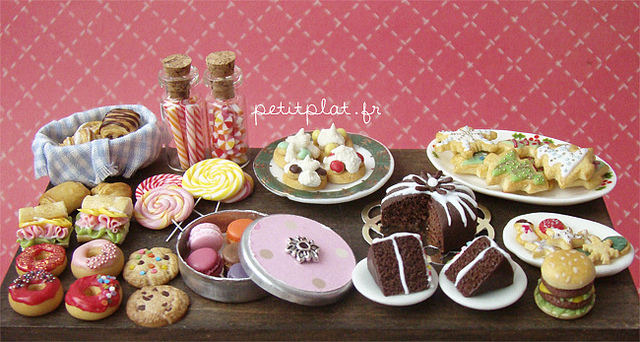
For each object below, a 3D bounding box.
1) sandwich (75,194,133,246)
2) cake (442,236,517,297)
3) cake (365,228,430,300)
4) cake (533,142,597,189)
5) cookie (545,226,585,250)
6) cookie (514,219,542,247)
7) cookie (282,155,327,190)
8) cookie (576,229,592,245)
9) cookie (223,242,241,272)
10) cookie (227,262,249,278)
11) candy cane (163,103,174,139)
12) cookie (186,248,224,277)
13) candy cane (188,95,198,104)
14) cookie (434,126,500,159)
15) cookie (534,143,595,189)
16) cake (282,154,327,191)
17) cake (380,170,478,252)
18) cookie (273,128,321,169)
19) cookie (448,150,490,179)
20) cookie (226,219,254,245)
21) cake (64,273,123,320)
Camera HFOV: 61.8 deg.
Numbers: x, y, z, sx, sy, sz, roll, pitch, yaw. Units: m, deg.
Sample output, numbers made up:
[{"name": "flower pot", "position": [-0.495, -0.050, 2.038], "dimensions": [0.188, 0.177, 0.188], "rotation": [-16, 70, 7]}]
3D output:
[{"name": "sandwich", "position": [-1.532, 0.320, 3.858], "dimensions": [0.397, 0.224, 0.341], "rotation": [4, 39, -5]}, {"name": "cake", "position": [1.037, 0.656, 3.502], "dimensions": [0.192, 0.547, 0.487], "rotation": [46, 59, -11]}, {"name": "cake", "position": [0.508, 0.596, 3.448], "dimensions": [0.367, 0.317, 0.292], "rotation": [-12, 31, -17]}, {"name": "cake", "position": [1.834, -0.112, 4.094], "dimensions": [0.493, 0.120, 0.469], "rotation": [23, 47, 20]}, {"name": "cookie", "position": [1.667, 0.459, 3.641], "dimensions": [0.177, 0.060, 0.171], "rotation": [17, 34, 31]}, {"name": "cookie", "position": [1.426, 0.424, 3.698], "dimensions": [0.150, 0.071, 0.167], "rotation": [0, 58, 7]}, {"name": "cookie", "position": [-0.125, -0.024, 4.141], "dimensions": [0.379, 0.180, 0.321], "rotation": [3, 42, -18]}, {"name": "cookie", "position": [1.802, 0.449, 3.661], "dimensions": [0.098, 0.035, 0.080], "rotation": [2, 64, -5]}, {"name": "cookie", "position": [-0.606, 0.587, 3.661], "dimensions": [0.157, 0.153, 0.165], "rotation": [0, 37, -7]}, {"name": "cookie", "position": [-0.556, 0.671, 3.627], "dimensions": [0.129, 0.102, 0.108], "rotation": [4, 53, 0]}, {"name": "candy cane", "position": [-1.192, -0.404, 4.258], "dimensions": [0.064, 0.288, 0.119], "rotation": [-17, 34, -21]}, {"name": "cookie", "position": [-0.768, 0.605, 3.597], "dimensions": [0.218, 0.155, 0.193], "rotation": [5, 20, 5]}, {"name": "candy cane", "position": [-1.003, -0.569, 4.242], "dimensions": [0.063, 0.016, 0.063], "rotation": [-29, 47, -28]}, {"name": "cookie", "position": [1.105, -0.201, 4.076], "dimensions": [0.357, 0.061, 0.268], "rotation": [-4, 31, -10]}, {"name": "cookie", "position": [1.807, -0.056, 3.978], "dimensions": [0.401, 0.090, 0.342], "rotation": [-1, 47, 14]}, {"name": "cake", "position": [-0.106, -0.028, 4.139], "dimensions": [0.372, 0.184, 0.329], "rotation": [13, 41, 9]}, {"name": "cake", "position": [0.834, 0.257, 3.920], "dimensions": [0.710, 0.385, 0.638], "rotation": [11, 33, 33]}, {"name": "cookie", "position": [-0.171, -0.148, 4.360], "dimensions": [0.370, 0.226, 0.348], "rotation": [13, 30, 25]}, {"name": "cookie", "position": [1.241, -0.067, 4.217], "dimensions": [0.377, 0.080, 0.355], "rotation": [5, 22, 21]}, {"name": "cookie", "position": [-0.579, 0.426, 3.805], "dimensions": [0.143, 0.126, 0.219], "rotation": [7, 29, 17]}, {"name": "cake", "position": [-1.490, 0.802, 3.521], "dimensions": [0.344, 0.120, 0.318], "rotation": [9, 35, -13]}]
